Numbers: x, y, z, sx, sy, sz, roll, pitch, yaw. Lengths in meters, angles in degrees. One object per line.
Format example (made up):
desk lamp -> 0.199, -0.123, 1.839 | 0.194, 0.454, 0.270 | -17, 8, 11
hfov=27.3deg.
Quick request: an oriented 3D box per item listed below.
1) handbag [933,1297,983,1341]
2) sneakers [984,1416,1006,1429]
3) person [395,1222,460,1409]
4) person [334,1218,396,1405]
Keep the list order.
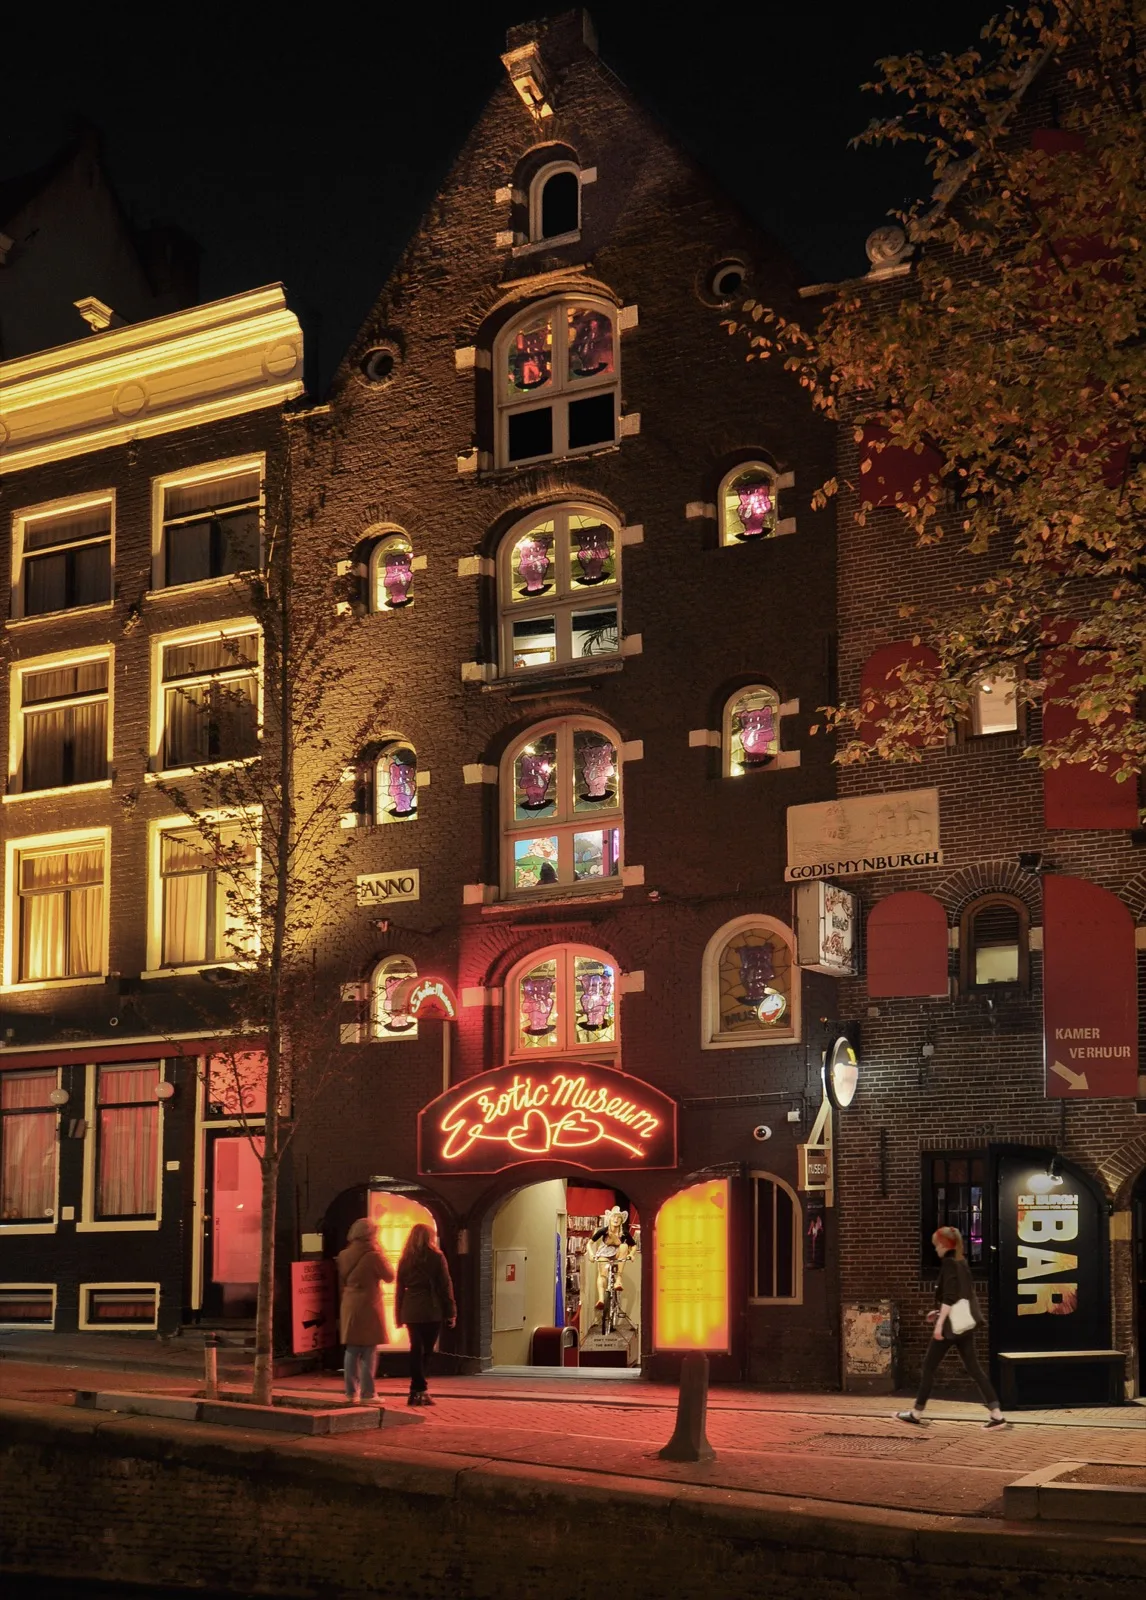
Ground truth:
handbag -> 3.404, 4.594, 20.876 | 0.410, 0.348, 0.119 | 7, -36, 15
sneakers -> 3.848, 5.585, 21.354 | 0.181, 0.146, 0.547 | -3, -13, 10
person -> -1.498, 5.175, 23.822 | 0.562, 1.758, 0.712 | 1, -15, -4
person -> -2.012, 4.903, 22.814 | 0.478, 1.696, 0.953 | 1, -15, -6
